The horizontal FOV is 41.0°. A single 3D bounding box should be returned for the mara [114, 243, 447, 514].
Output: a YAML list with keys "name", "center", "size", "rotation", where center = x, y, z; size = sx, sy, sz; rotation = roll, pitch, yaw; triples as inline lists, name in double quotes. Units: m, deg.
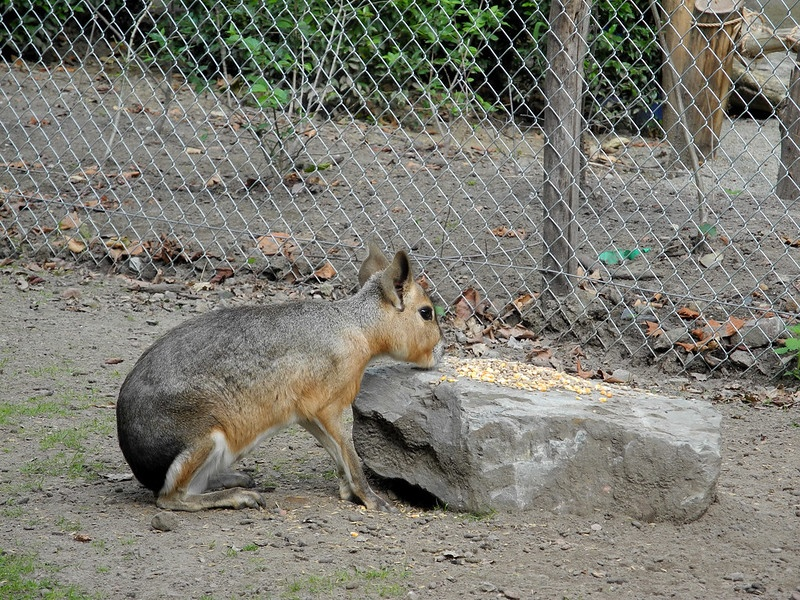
- name: "mara"
  center: [-0.720, 0.453, 6.210]
  size: [1.822, 1.366, 0.744]
  rotation: [-6, 23, -13]

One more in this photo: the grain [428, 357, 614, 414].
- name: "grain"
  center: [0.778, 0.463, 6.552]
  size: [1.050, 0.139, 0.520]
  rotation: [1, 20, 4]
